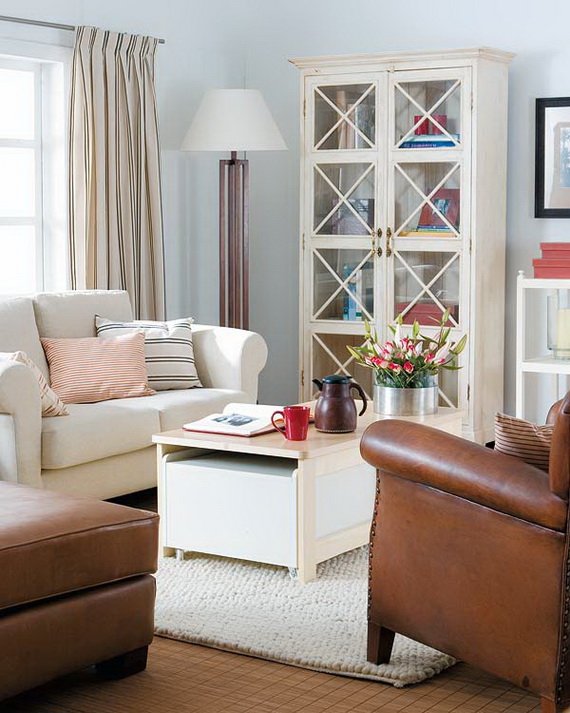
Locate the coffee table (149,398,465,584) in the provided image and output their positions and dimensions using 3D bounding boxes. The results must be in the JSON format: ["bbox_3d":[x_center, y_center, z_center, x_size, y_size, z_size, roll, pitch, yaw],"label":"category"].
[{"bbox_3d":[-0.071,0.300,2.231,0.530,0.402,0.890,2,4,34],"label":"coffee table"}]

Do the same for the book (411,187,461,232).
[{"bbox_3d":[0.900,-0.847,3.727,0.227,0.221,0.055,8,4,33],"label":"book"}]

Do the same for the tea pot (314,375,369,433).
[{"bbox_3d":[0.195,0.161,2.294,0.211,0.228,0.157,2,4,3],"label":"tea pot"}]

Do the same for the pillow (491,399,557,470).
[{"bbox_3d":[0.465,0.152,1.232,0.033,0.100,0.108,-1,9,-37],"label":"pillow"}]

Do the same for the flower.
[{"bbox_3d":[0.465,-0.003,2.600,0.491,0.344,0.501,1,4,23],"label":"flower"}]

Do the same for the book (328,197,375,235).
[{"bbox_3d":[0.422,-0.853,3.982,0.234,0.226,0.055,6,8,36],"label":"book"}]

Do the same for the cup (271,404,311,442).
[{"bbox_3d":[0.009,0.221,2.166,0.135,0.103,0.093,0,3,16],"label":"cup"}]
